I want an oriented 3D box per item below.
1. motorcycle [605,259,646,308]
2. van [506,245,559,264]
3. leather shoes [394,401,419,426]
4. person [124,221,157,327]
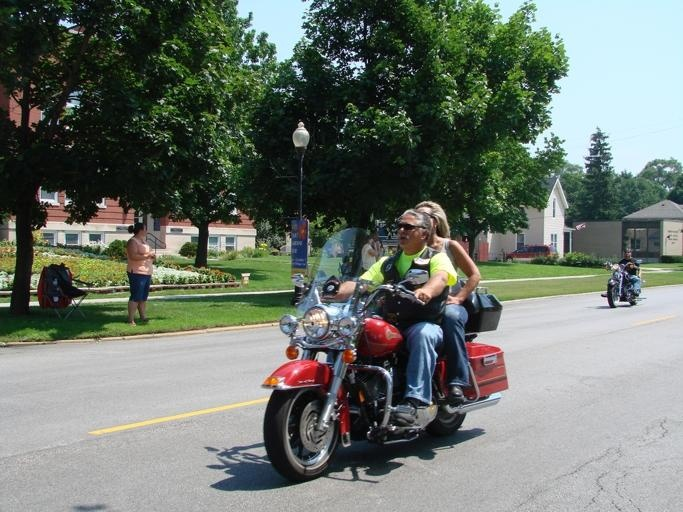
[{"bbox_3d":[9.826,0.986,21.824,1.252,1.416,2.368,-5,-6,40],"label":"motorcycle"},{"bbox_3d":[20.180,-0.559,65.518,4.109,1.950,2.368,3,0,20],"label":"van"},{"bbox_3d":[0.600,1.485,5.714,0.248,0.178,0.247,-9,-20,7],"label":"leather shoes"},{"bbox_3d":[-4.947,0.417,14.921,0.607,1.872,1.248,2,-1,-19],"label":"person"}]
